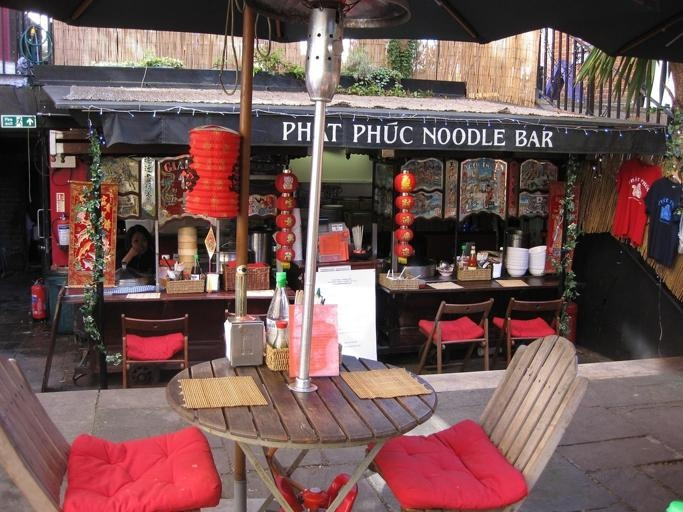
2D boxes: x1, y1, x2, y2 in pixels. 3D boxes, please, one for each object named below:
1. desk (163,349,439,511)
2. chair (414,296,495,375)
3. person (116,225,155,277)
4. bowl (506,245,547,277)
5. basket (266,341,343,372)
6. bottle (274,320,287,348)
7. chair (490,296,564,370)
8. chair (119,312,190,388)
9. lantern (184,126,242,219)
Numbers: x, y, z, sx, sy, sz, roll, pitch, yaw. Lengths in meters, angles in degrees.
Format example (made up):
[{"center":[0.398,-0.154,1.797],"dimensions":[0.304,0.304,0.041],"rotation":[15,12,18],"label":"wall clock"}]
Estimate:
[{"center":[-0.223,0.978,2.925],"dimensions":[1.402,0.595,0.728],"rotation":[1,9,10],"label":"desk"},{"center":[1.405,0.997,6.984],"dimensions":[0.721,1.032,0.779],"rotation":[0,7,-11],"label":"chair"},{"center":[-2.971,-0.048,8.086],"dimensions":[0.546,0.858,0.449],"rotation":[2,-1,-19],"label":"person"},{"center":[2.748,0.072,8.398],"dimensions":[0.550,0.449,0.407],"rotation":[1,1,-6],"label":"bowl"},{"center":[-0.289,0.580,3.260],"dimensions":[0.295,0.108,0.207],"rotation":[0,4,-2],"label":"basket"},{"center":[-0.345,0.443,3.173],"dimensions":[0.078,0.173,0.099],"rotation":[-2,9,-9],"label":"bottle"},{"center":[2.406,0.989,7.264],"dimensions":[0.743,0.957,0.717],"rotation":[1,4,-11],"label":"chair"},{"center":[-2.148,1.032,6.443],"dimensions":[0.738,0.771,0.939],"rotation":[0,3,-23],"label":"chair"},{"center":[-0.779,-0.525,3.452],"dimensions":[0.350,0.542,0.363],"rotation":[7,11,27],"label":"lantern"}]
